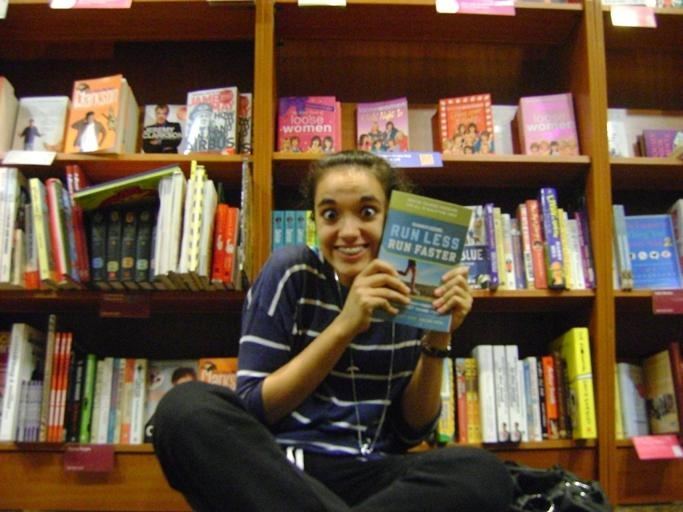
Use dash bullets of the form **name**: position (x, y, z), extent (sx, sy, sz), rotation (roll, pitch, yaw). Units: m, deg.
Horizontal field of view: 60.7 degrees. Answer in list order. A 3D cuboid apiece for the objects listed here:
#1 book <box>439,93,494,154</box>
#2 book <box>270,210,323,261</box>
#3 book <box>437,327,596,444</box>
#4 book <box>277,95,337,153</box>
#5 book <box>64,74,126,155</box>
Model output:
- **book**: position (0.516, -0.543, 2.423), extent (0.268, 0.356, 0.042), rotation (-2, -22, 3)
- **book**: position (-0.174, -0.100, 2.288), extent (0.202, 0.206, 0.148), rotation (0, -18, -2)
- **book**: position (0.643, 0.401, 2.275), extent (0.581, 0.504, 0.397), rotation (2, -13, -3)
- **book**: position (-0.134, -0.538, 2.440), extent (0.251, 0.247, 0.246), rotation (-1, -5, 3)
- **book**: position (-0.974, -0.563, 2.309), extent (0.216, 0.351, 0.089), rotation (1, -10, 7)
